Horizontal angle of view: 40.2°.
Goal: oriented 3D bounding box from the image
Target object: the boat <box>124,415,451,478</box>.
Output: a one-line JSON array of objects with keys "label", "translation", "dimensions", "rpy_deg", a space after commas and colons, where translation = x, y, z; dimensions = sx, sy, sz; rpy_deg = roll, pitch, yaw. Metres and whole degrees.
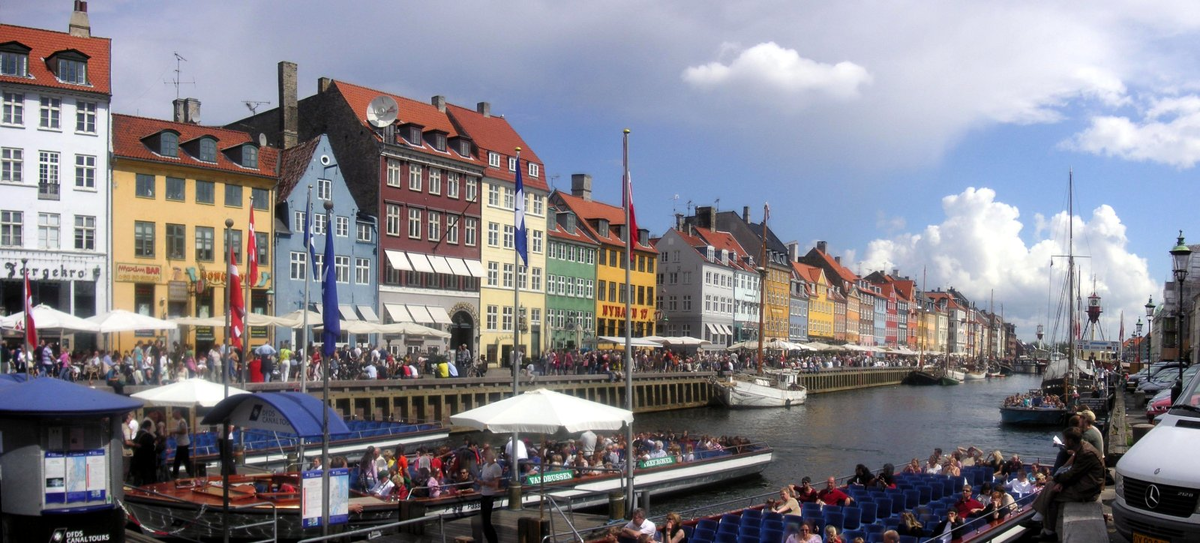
[{"label": "boat", "translation": [-24.753, 13.494, 124.223], "dimensions": [25.005, 4.786, 4.555], "rpy_deg": [4, 0, -27]}]

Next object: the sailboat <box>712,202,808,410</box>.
[{"label": "sailboat", "translation": [17.148, 5.209, 184.759], "dimensions": [11.127, 21.884, 12.877], "rpy_deg": [0, 1, 42]}]
